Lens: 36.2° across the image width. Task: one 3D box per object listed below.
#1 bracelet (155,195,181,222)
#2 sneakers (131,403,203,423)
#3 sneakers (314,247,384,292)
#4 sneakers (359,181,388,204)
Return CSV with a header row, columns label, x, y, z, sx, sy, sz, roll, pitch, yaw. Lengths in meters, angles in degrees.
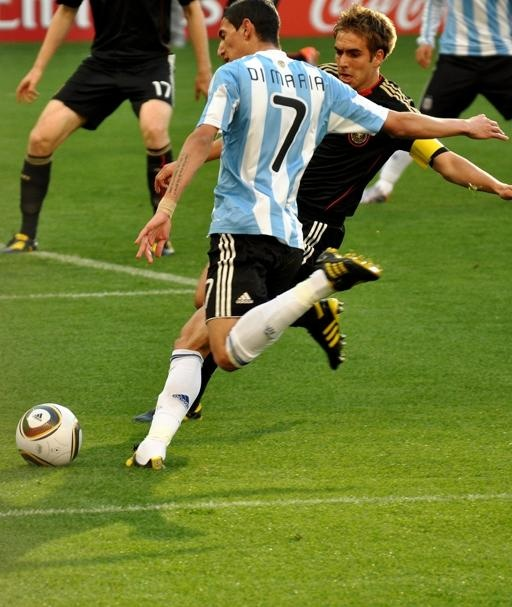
label,x,y,z,sx,sy,sz,roll,pitch,yaw
bracelet,-0.276,-0.292,2.419,0.070,0.063,0.076,32,15,34
sneakers,-0.328,0.419,3.011,0.271,0.078,0.077,1,-4,-18
sneakers,0.280,-0.122,2.446,0.107,0.090,0.278,-16,11,-42
sneakers,0.984,-0.895,6.451,0.128,0.273,0.144,19,56,-27
